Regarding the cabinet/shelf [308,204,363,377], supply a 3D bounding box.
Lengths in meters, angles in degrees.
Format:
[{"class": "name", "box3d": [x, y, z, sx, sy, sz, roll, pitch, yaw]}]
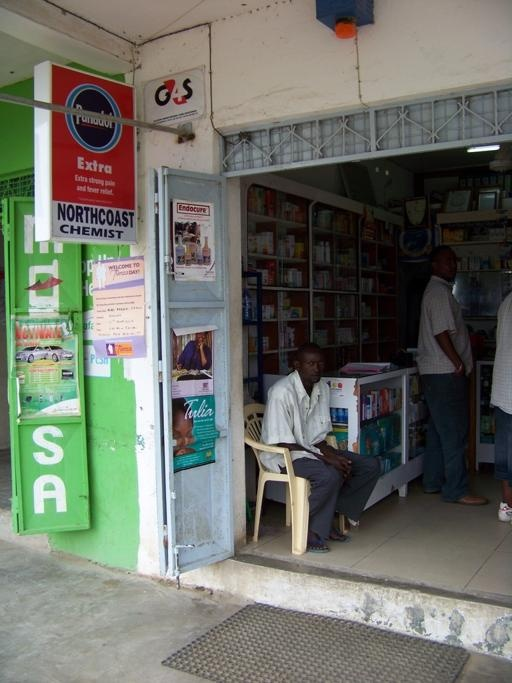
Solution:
[{"class": "cabinet/shelf", "box3d": [1.040, -0.696, 7.240, 0.253, 2.018, 0.889, 0, 3, 33]}]

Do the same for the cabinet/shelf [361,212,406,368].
[{"class": "cabinet/shelf", "box3d": [1.793, -0.760, 8.177, 0.484, 2.130, 1.525, -4, 5, 24]}]

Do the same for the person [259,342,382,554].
[{"class": "person", "box3d": [0.372, 0.620, 3.450, 0.571, 1.200, 0.547, -10, 6, -39]}]

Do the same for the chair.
[{"class": "chair", "box3d": [0.210, 0.850, 3.833, 0.767, 1.080, 0.748, -3, -5, 30]}]

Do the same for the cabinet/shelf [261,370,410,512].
[{"class": "cabinet/shelf", "box3d": [0.939, 0.702, 4.473, 0.552, 0.995, 1.580, -3, -2, 34]}]

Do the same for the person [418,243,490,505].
[{"class": "person", "box3d": [1.405, 0.234, 4.256, 0.442, 1.903, 0.548, -5, 5, 17]}]

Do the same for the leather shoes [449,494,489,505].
[{"class": "leather shoes", "box3d": [1.543, 1.132, 4.127, 0.275, 0.105, 0.093, -5, -3, 19]}]

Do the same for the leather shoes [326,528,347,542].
[{"class": "leather shoes", "box3d": [0.503, 1.172, 3.436, 0.165, 0.062, 0.048, -2, 2, 9]}]
